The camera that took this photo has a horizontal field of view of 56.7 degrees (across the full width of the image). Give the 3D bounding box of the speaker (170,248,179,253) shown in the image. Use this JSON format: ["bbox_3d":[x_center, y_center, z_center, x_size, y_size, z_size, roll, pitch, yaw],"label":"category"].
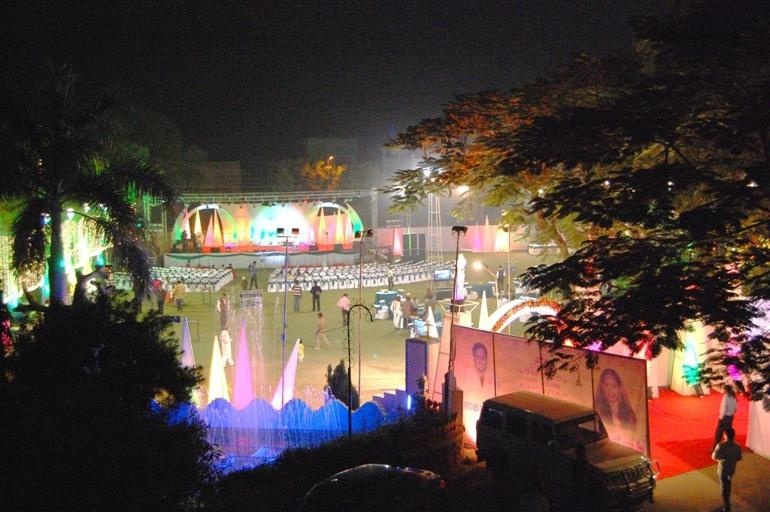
[{"bbox_3d":[-13.108,-0.481,44.805,0.249,0.329,0.478,-4,-3,19],"label":"speaker"}]

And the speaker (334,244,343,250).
[{"bbox_3d":[-3.131,-0.728,47.512,0.377,0.290,0.377,1,-2,-34],"label":"speaker"}]

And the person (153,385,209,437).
[{"bbox_3d":[-4.087,2.993,14.300,0.823,0.877,1.396,-3,-1,33],"label":"person"}]

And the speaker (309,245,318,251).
[{"bbox_3d":[-4.661,-0.645,46.535,0.404,0.270,0.422,-1,5,9],"label":"speaker"}]

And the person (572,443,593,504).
[{"bbox_3d":[3.788,4.140,13.731,0.336,1.018,0.379,-3,-1,17],"label":"person"}]
